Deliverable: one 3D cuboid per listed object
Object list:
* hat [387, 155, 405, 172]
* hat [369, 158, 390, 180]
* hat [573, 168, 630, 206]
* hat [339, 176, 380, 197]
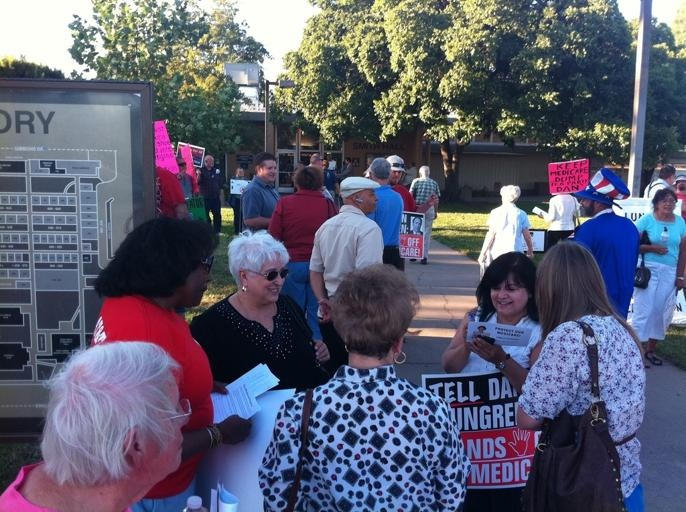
[{"bbox_3d":[0.772,-1.238,11.008,0.234,0.224,0.357,11,3,-6],"label":"hat"},{"bbox_3d":[0.435,-0.996,9.049,0.211,0.202,0.358,13,39,-7],"label":"hat"},{"bbox_3d":[2.641,-0.670,7.835,0.543,0.382,0.443,19,4,38],"label":"hat"},{"bbox_3d":[0.146,-0.688,7.613,0.230,0.150,0.225,-4,10,3],"label":"hat"}]
